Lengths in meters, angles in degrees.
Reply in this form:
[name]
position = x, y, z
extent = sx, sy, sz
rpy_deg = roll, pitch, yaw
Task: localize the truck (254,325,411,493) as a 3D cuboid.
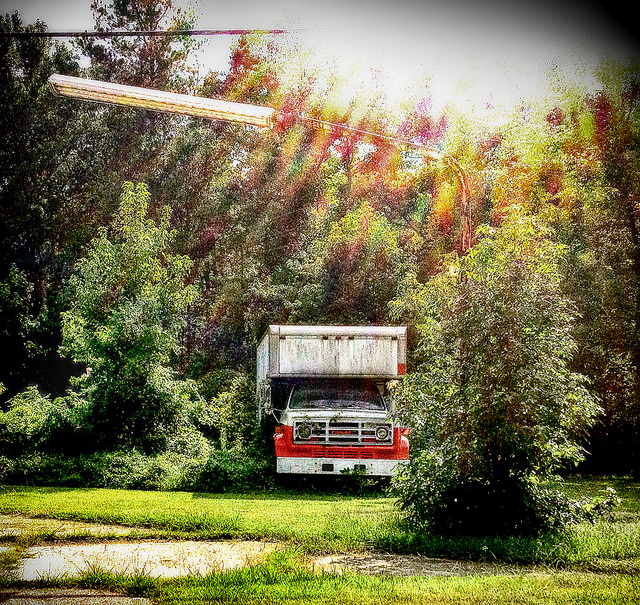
[truck]
position = 0.183, 1.954, 20.334
extent = 1.650, 2.306, 3.858
rpy_deg = 0, -12, -1
